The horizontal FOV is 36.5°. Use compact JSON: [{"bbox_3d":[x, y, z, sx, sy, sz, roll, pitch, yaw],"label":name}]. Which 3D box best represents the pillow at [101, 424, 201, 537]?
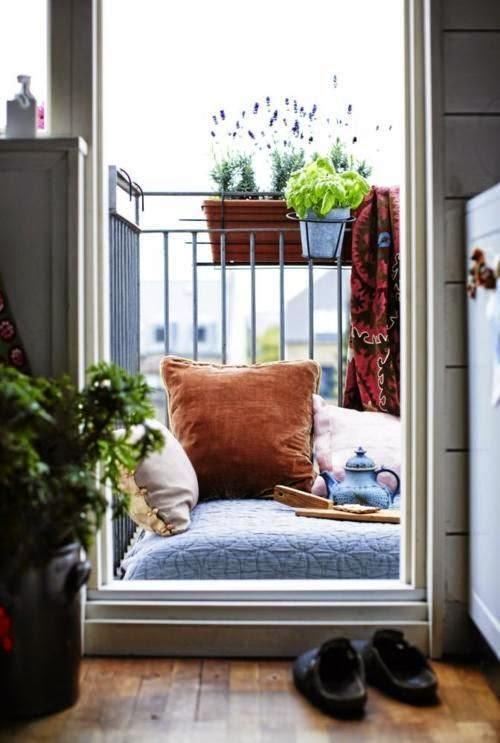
[{"bbox_3d":[-0.229,0.244,1.957,0.172,0.258,0.357,0,18,4],"label":"pillow"}]

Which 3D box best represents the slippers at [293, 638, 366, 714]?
[{"bbox_3d":[0.155,0.592,1.521,0.139,0.092,0.223,-2,7,2],"label":"slippers"}]

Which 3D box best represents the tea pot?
[{"bbox_3d":[0.295,0.273,2.051,0.186,0.209,0.149,2,-2,13],"label":"tea pot"}]

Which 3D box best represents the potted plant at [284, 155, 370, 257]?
[{"bbox_3d":[0.202,-0.499,2.363,0.263,0.303,0.212,7,11,37],"label":"potted plant"}]

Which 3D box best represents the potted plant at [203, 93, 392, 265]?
[{"bbox_3d":[0.160,-0.637,2.419,0.500,0.495,0.222,0,-1,-2],"label":"potted plant"}]

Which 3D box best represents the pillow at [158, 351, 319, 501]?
[{"bbox_3d":[-0.026,0.167,2.116,0.340,0.352,0.133,2,-29,-10],"label":"pillow"}]

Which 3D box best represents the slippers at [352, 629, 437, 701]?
[{"bbox_3d":[0.298,0.598,1.534,0.076,0.062,0.161,-6,13,-9],"label":"slippers"}]

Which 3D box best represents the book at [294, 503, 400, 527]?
[{"bbox_3d":[0.245,0.366,1.922,0.261,0.035,0.085,-2,7,2],"label":"book"}]
